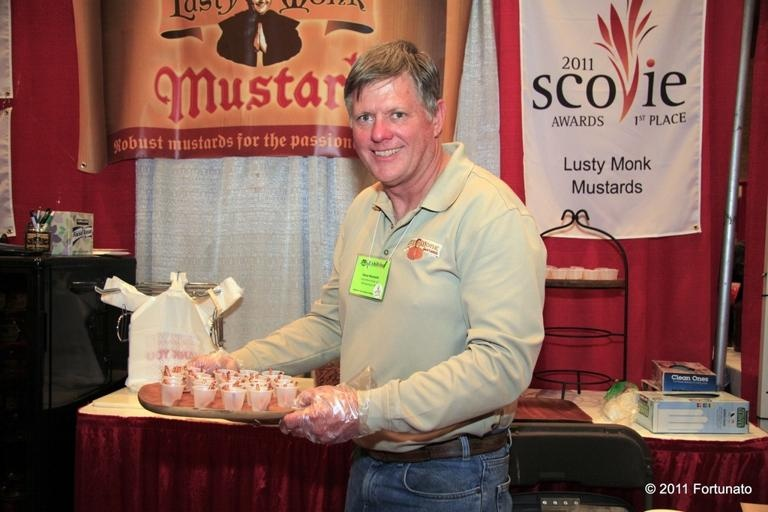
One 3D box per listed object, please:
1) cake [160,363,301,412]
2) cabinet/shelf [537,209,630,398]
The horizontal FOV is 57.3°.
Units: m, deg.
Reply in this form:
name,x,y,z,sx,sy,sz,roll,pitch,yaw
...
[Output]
name,x,y,z,sx,sy,sz,roll,pitch,yaw
cake,-0.716,0.619,3.278,0.462,0.088,0.288,2,5,-1
cabinet/shelf,1.255,0.350,4.624,0.650,1.334,0.493,1,2,21
